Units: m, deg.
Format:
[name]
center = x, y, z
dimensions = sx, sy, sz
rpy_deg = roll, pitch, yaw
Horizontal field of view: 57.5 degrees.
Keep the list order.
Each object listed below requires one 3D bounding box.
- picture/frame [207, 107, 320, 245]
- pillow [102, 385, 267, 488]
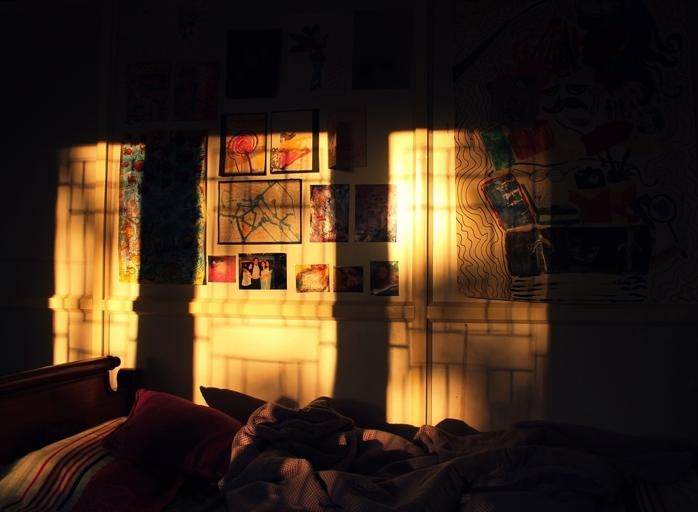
[picture/frame]
center = -0.572, -0.536, 4.445
dimensions = 0.939, 1.166, 0.019
rpy_deg = 1, 0, 10
[pillow]
center = -0.983, 1.013, 3.793
dimensions = 0.477, 0.156, 0.524
rpy_deg = 19, 18, 17
